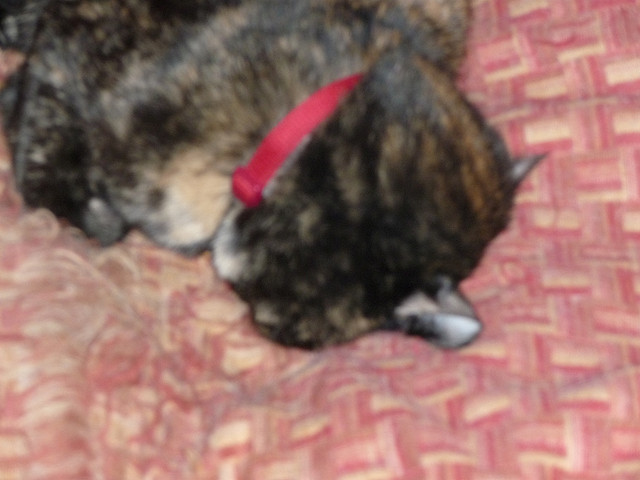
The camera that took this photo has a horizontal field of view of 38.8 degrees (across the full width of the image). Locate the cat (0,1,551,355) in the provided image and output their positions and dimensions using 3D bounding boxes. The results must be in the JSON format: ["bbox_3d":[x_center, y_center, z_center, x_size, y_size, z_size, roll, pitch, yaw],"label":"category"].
[{"bbox_3d":[-0.075,-0.112,1.092,0.532,0.209,0.388,25,91,-17],"label":"cat"}]

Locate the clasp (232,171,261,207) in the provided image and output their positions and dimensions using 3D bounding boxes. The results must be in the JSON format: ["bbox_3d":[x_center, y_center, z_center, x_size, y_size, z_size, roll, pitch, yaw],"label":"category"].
[{"bbox_3d":[-0.078,-0.056,1.000,0.022,0.054,0.039,21,90,-15],"label":"clasp"}]

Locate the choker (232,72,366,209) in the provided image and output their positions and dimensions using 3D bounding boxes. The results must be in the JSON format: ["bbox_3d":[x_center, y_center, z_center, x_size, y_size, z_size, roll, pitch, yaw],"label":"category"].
[{"bbox_3d":[-0.024,-0.127,1.029,0.038,0.034,0.204,41,84,7],"label":"choker"}]
